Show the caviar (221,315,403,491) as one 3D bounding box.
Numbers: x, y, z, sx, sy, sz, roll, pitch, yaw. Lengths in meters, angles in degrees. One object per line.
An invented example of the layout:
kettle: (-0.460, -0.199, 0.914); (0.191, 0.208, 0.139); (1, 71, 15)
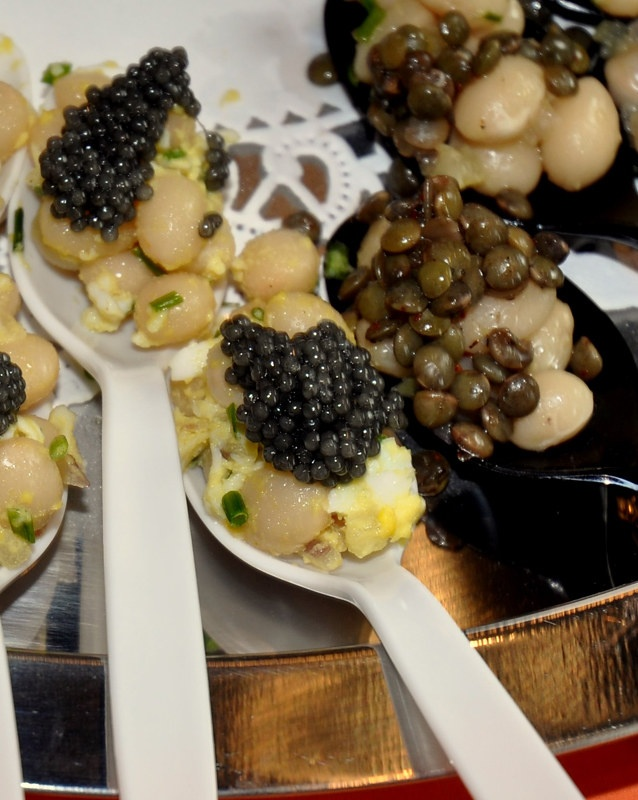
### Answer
caviar: (-0.027, 0.010, 1.034); (0.171, 0.100, 0.224); (-38, 80, -29)
